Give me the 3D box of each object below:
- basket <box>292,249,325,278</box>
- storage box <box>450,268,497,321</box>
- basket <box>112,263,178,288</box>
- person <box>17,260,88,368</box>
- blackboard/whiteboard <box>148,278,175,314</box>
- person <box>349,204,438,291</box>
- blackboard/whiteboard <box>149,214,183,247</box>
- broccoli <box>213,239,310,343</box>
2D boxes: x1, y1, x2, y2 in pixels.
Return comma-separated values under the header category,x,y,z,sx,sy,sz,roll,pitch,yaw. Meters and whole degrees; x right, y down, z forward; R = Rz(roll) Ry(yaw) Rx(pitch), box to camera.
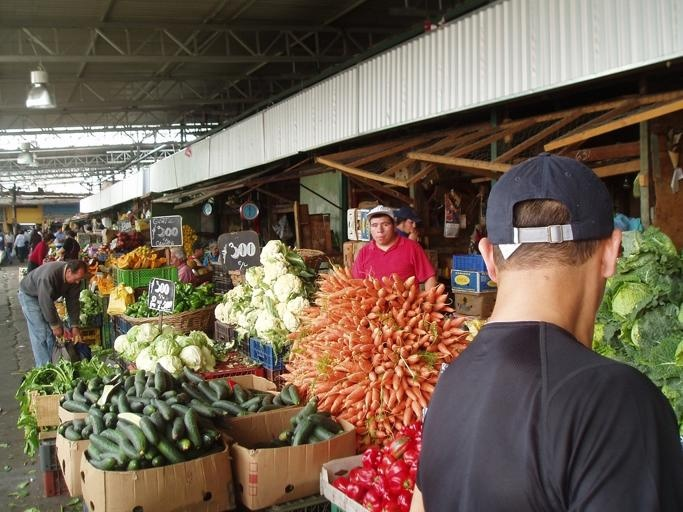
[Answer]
category,x,y,z,sx,sy,sz,roll,pitch,yaw
basket,-0.287,0.056,5.506,0.237,0.214,0.256,0,5,-12
storage box,1.267,0.328,5.575,0.365,0.568,0.483,1,-2,-39
basket,-2.890,0.293,8.164,0.773,0.320,0.860,-1,-3,11
person,-3.327,0.536,6.425,0.785,1.652,0.604,0,1,-40
blackboard/whiteboard,-1.587,0.355,4.930,0.309,0.514,0.023,-5,-1,43
person,0.448,-0.036,4.823,0.635,0.787,0.402,16,12,39
blackboard/whiteboard,-2.137,-0.302,6.820,0.462,0.537,0.058,-6,19,-19
broccoli,-0.558,0.321,4.527,0.664,0.903,0.490,-4,10,-26
